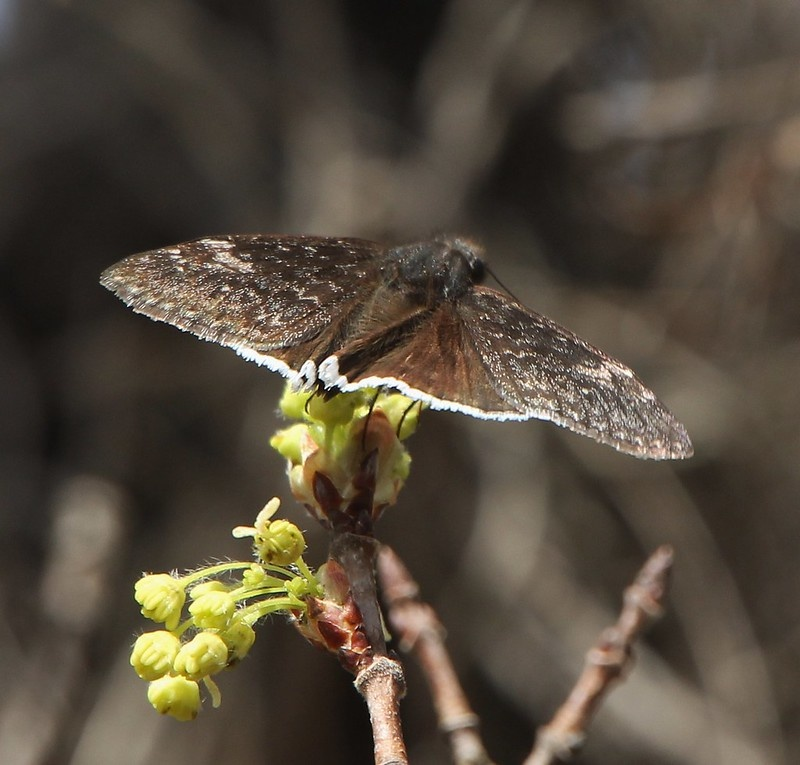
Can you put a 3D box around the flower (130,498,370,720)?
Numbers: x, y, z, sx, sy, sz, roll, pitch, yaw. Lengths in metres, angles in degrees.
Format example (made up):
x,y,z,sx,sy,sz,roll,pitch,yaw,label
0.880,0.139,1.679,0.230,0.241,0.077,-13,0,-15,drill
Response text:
x,y,z,sx,sy,sz,roll,pitch,yaw,label
-0.205,0.269,1.452,0.311,0.206,0.141,-44,-18,-17,flower

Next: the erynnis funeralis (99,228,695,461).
x,y,z,sx,sy,sz,roll,pitch,yaw,label
-0.031,-0.093,1.680,0.294,0.187,0.728,-52,-22,-3,erynnis funeralis

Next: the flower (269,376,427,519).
x,y,z,sx,sy,sz,roll,pitch,yaw,label
-0.071,0.086,1.443,0.197,0.156,0.074,11,-10,7,flower
